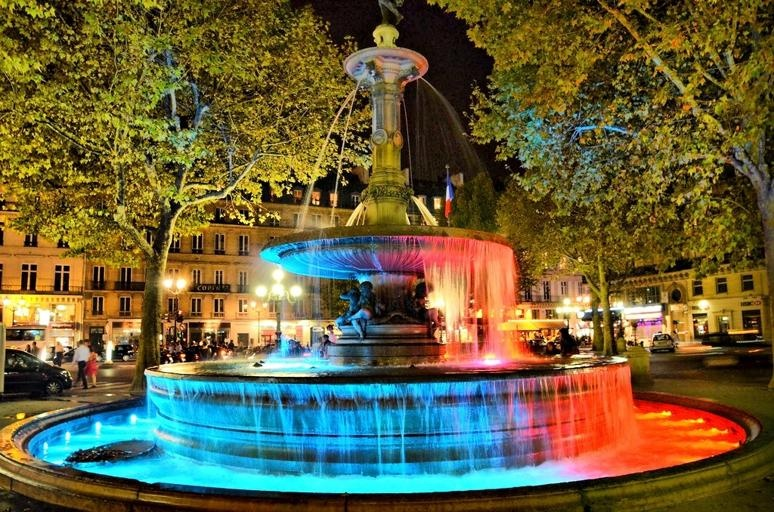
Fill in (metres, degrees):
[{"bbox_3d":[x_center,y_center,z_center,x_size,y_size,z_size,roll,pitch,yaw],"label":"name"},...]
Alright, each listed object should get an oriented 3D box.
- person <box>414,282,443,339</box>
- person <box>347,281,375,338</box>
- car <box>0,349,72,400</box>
[{"bbox_3d":[1.063,1.345,17.247,0.652,1.491,0.921,-1,-3,2],"label":"person"},{"bbox_3d":[-0.624,1.373,16.769,0.848,1.640,0.567,-6,-34,9],"label":"person"},{"bbox_3d":[-13.012,4.228,24.328,2.653,1.280,1.465,0,-2,-25],"label":"car"}]
